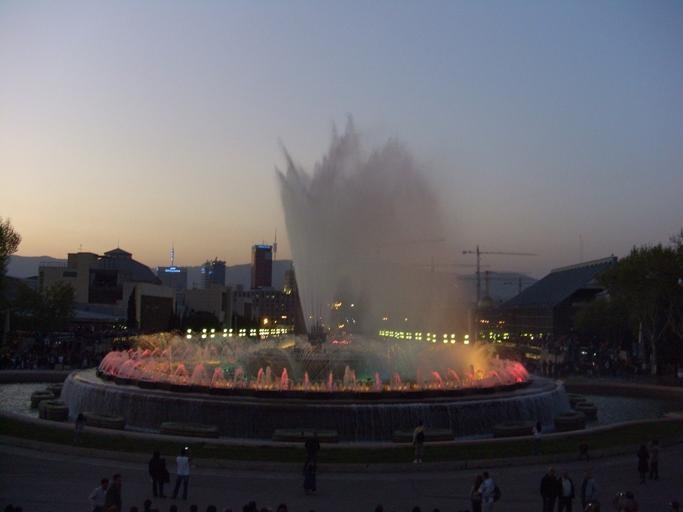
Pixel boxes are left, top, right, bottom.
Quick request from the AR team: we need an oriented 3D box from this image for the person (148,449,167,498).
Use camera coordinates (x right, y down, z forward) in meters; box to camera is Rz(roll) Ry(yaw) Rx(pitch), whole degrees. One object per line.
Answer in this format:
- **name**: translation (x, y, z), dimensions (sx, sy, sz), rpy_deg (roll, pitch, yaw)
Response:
- **person**: translation (-6.912, 8.212, 27.358), dimensions (0.633, 1.706, 1.431), rpy_deg (3, -12, -14)

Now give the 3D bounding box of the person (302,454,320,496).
- **person**: translation (-1.206, 8.444, 27.934), dimensions (0.517, 1.373, 0.628), rpy_deg (1, -11, -3)
